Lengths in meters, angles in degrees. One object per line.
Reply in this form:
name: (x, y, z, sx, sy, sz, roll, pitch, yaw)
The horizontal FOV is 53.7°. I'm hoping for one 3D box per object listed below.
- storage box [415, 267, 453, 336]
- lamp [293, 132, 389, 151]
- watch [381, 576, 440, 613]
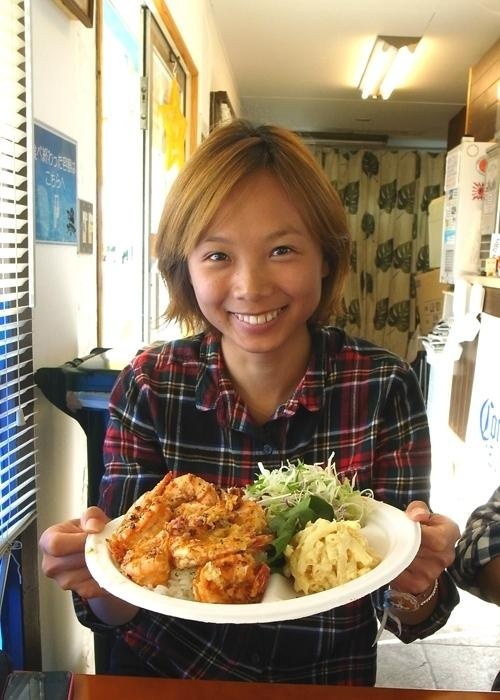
storage box: (2.056, -0.530, 5.817, 0.480, 0.690, 0.477, -14, 14, -41)
lamp: (1.403, -3.209, 7.468, 1.699, 0.313, 0.131, -1, 33, -4)
watch: (0.277, 0.431, 0.879, 0.094, 0.058, 0.077, 0, -26, -3)
